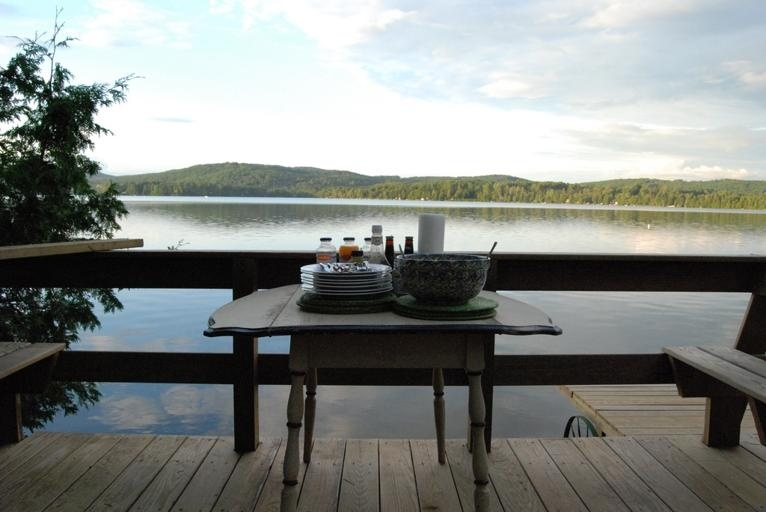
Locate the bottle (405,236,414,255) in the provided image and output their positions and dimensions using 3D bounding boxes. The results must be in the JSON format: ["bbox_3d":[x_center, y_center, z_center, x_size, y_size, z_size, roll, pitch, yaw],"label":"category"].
[{"bbox_3d":[0.185,-0.079,3.979,0.061,0.120,0.159,-1,11,1],"label":"bottle"}]

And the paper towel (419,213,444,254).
[{"bbox_3d":[0.361,-0.159,4.051,0.219,0.306,0.206,3,-5,-26],"label":"paper towel"}]

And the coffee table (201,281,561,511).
[{"bbox_3d":[-0.012,0.929,4.186,1.891,1.058,1.799,1,-2,2],"label":"coffee table"}]

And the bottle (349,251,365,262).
[{"bbox_3d":[-0.186,0.005,3.783,0.085,0.080,0.081,1,1,-3],"label":"bottle"}]

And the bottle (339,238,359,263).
[{"bbox_3d":[-0.267,-0.041,3.980,0.183,0.270,0.179,0,4,0],"label":"bottle"}]
